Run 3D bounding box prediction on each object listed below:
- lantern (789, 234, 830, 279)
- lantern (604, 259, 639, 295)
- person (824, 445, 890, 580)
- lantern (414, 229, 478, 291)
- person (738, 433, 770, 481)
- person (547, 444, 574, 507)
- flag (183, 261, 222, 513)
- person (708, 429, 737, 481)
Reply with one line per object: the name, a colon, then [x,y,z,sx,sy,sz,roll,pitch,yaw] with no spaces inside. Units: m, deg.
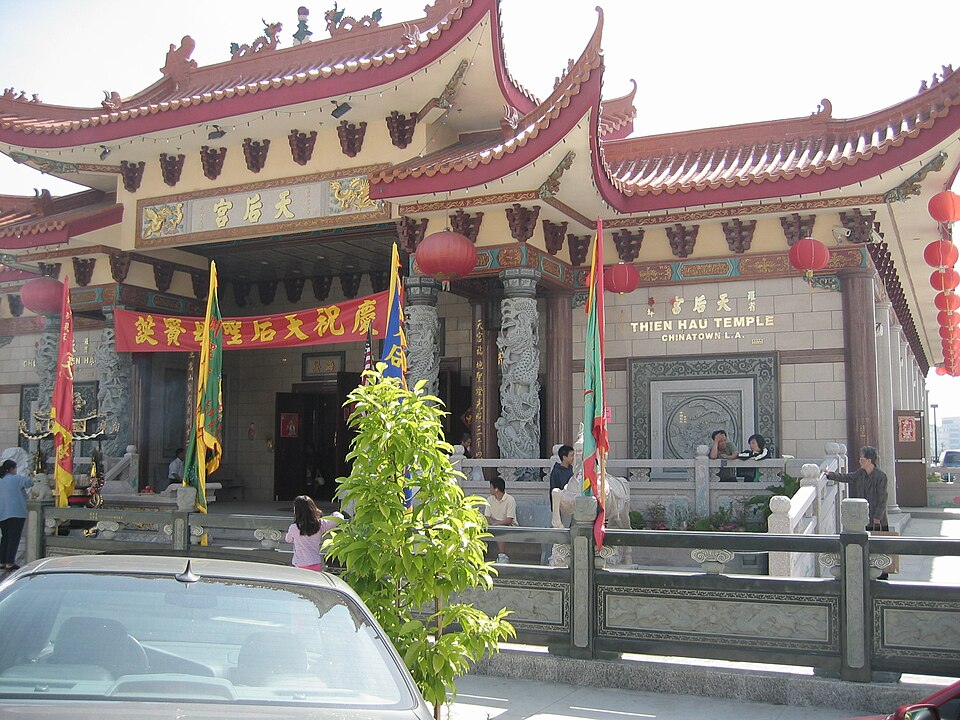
lantern: [4.772,-1.462,13.112,0.521,0.609,0.541,0,-6,4]
lantern: [2.220,-1.262,14.158,0.443,0.595,0.456,0,1,-22]
person: [4.481,1.760,10.818,0.787,1.394,0.494,-1,11,20]
lantern: [-0.522,-1.522,13.583,1.005,1.051,1.019,-1,-2,33]
person: [3.909,1.407,13.004,0.364,0.569,1.763,9,5,20]
person: [1.044,1.375,11.355,0.254,0.506,0.707,8,4,0]
flag: [-3.101,0.350,10.448,0.355,2.877,0.931,6,4,-17]
person: [3.506,1.402,13.125,0.365,0.861,0.485,-6,-27,13]
